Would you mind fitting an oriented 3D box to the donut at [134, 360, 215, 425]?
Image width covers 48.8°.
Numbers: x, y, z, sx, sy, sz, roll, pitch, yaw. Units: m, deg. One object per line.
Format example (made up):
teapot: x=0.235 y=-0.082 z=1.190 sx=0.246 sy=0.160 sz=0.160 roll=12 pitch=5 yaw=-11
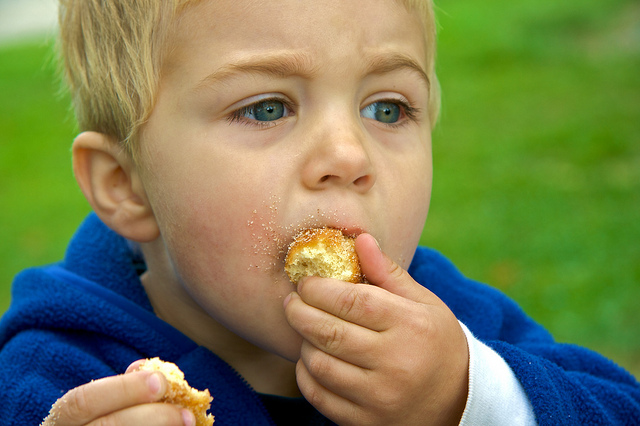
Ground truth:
donut: x=-0.500 y=0.629 z=2.522 sx=0.254 sy=0.079 sz=0.200 roll=37 pitch=0 yaw=12
